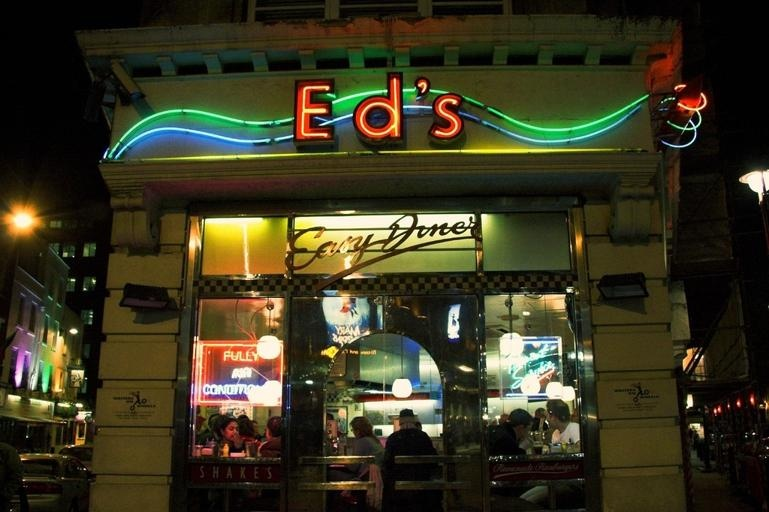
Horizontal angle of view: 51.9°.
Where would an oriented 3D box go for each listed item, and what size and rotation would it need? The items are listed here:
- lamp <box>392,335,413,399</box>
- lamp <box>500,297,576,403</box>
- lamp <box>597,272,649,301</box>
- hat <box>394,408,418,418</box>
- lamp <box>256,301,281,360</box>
[{"bbox_3d":[0.377,2.433,17.060,0.442,1.240,0.823,-1,-19,0],"label":"lamp"},{"bbox_3d":[3.001,1.789,15.380,1.865,2.428,1.363,0,-20,7],"label":"lamp"},{"bbox_3d":[4.497,0.576,14.869,0.963,0.466,0.603,-5,-4,17],"label":"lamp"},{"bbox_3d":[0.453,3.168,15.991,0.482,0.257,0.655,2,-16,-2],"label":"hat"},{"bbox_3d":[-2.234,1.447,15.404,0.455,1.127,0.305,-14,-23,33],"label":"lamp"}]
